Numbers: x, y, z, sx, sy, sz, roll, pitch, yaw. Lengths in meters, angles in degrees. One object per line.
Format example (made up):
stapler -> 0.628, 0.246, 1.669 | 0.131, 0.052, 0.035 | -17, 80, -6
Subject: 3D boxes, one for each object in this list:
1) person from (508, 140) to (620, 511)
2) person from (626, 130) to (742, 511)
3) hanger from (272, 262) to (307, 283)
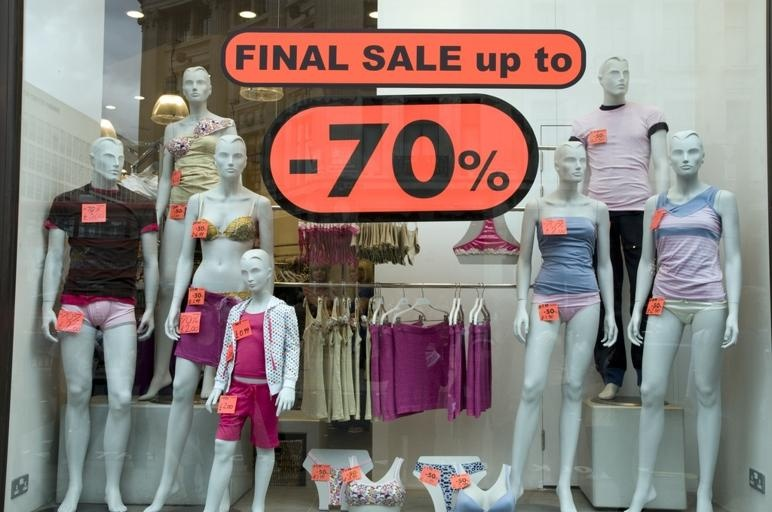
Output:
person -> 1.219, 0.491, 5.952 | 0.712, 2.585, 0.238 | 0, -6, 14
person -> 2.030, 0.612, 5.887 | 0.710, 2.358, 0.268 | 1, -6, 3
hanger -> -0.689, 0.131, 6.059 | 0.256, 0.114, 0.093 | -1, -1, -7
